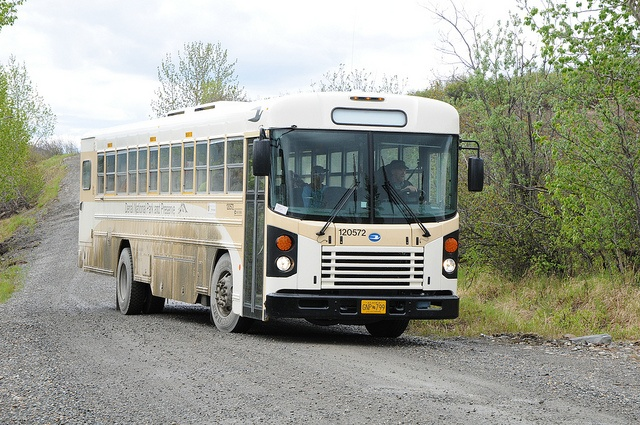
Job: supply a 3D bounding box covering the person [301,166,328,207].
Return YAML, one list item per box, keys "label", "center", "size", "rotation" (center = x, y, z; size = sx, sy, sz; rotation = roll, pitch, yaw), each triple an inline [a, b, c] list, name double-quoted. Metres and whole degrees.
- label: "person"
  center: [-0.062, -0.404, 8.944]
  size: [0.507, 0.947, 0.427]
  rotation: [-6, 13, -36]
